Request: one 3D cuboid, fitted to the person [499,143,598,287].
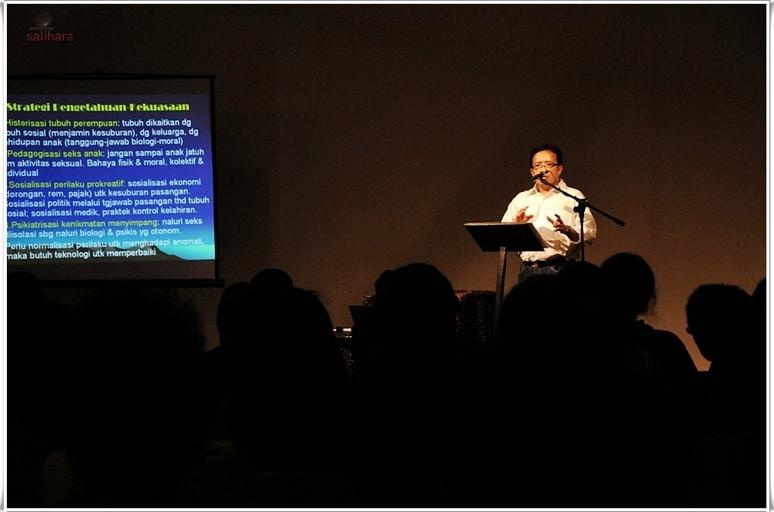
[{"bbox_3d":[1.149,-0.068,5.609,0.768,1.561,0.657,1,-5,19],"label":"person"}]

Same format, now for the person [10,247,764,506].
[{"bbox_3d":[-0.112,0.661,3.977,3.147,1.256,0.719,0,1,6],"label":"person"}]

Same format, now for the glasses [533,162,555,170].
[{"bbox_3d":[1.139,-0.645,5.426,0.147,0.047,0.033,-1,-8,21],"label":"glasses"}]
